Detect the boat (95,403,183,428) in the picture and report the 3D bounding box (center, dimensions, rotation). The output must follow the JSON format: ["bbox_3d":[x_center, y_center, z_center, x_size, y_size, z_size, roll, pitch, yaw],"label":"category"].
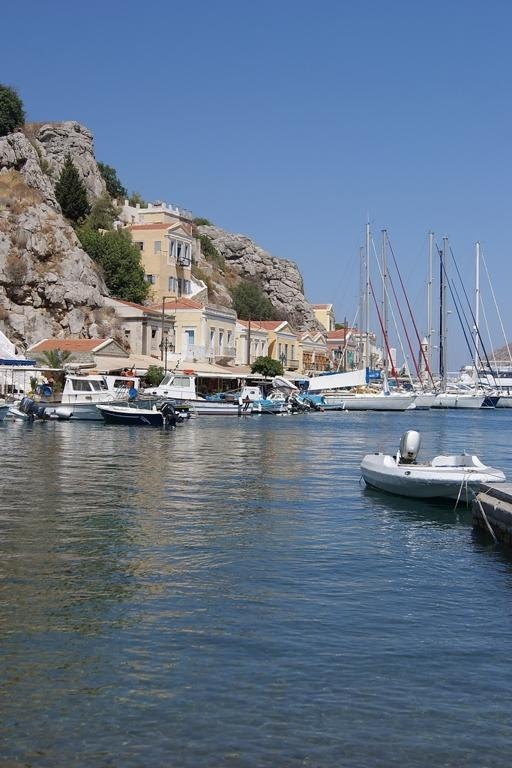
[{"bbox_3d":[-7.405,1.939,61.509,3.672,1.408,2.089,4,-7,-5],"label":"boat"}]
